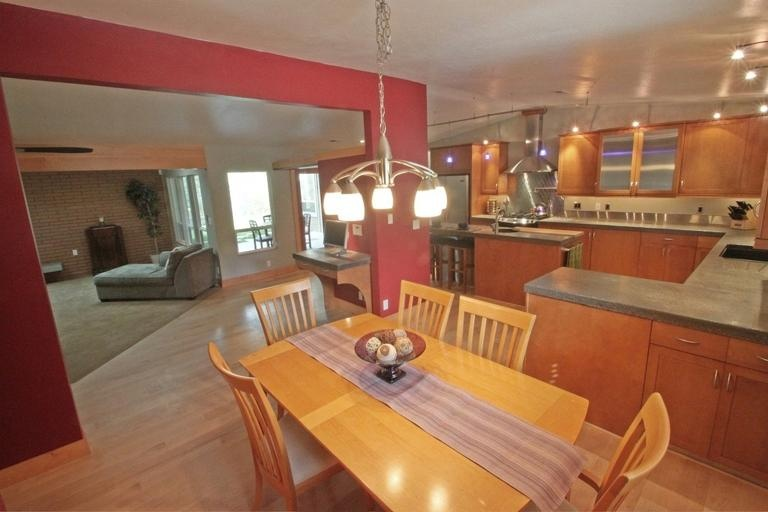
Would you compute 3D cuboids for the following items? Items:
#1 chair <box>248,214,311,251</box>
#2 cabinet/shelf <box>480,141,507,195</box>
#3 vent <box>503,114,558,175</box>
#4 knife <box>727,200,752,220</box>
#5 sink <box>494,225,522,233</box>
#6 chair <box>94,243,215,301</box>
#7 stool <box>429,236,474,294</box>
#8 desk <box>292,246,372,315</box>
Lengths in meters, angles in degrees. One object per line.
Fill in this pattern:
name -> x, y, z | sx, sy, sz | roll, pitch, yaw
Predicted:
chair -> -2.225, -0.543, 9.564 | 1.180, 0.782, 0.622 | -19, 29, -36
cabinet/shelf -> 2.164, -1.691, 9.208 | 0.532, 0.967, 0.226 | -2, 13, 9
vent -> 2.752, -2.084, 8.661 | 1.068, 1.079, 1.012 | -18, 22, -40
knife -> 4.802, -0.611, 6.343 | 0.313, 0.291, 0.215 | -23, 17, -29
sink -> 1.834, -0.406, 7.007 | 0.366, 0.093, 0.725 | -1, 10, 14
chair -> -3.805, 0.353, 8.119 | 1.604, 0.774, 1.106 | 0, 18, -13
stool -> 1.084, 0.140, 7.447 | 0.550, 0.915, 0.573 | 21, 39, 33
desk -> -0.663, 0.352, 6.373 | 0.508, 0.770, 0.963 | -9, 13, -39
